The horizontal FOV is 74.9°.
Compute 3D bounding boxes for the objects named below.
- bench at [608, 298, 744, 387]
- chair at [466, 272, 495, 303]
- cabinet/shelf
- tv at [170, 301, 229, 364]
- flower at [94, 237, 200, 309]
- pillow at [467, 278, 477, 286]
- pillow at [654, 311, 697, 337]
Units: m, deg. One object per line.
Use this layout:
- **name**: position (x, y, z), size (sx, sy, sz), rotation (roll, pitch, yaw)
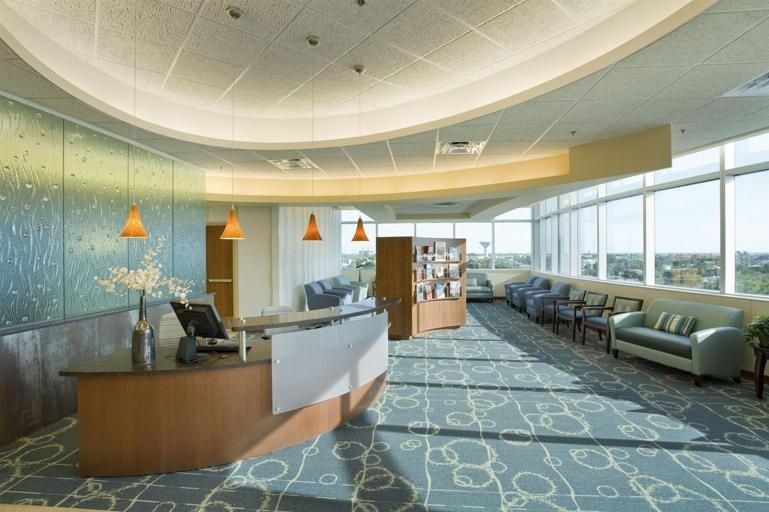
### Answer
- **bench**: position (5.187, 1.432, 9.052), size (1.655, 1.227, 2.341), rotation (3, -3, -11)
- **chair**: position (3.270, 1.015, 17.500), size (1.302, 0.770, 1.068), rotation (-1, -6, 9)
- **cabinet/shelf**: position (0.777, 0.739, 11.469), size (1.030, 2.114, 3.063), rotation (-4, -5, 40)
- **tv**: position (-2.438, 1.045, 6.695), size (1.065, 0.699, 0.500), rotation (3, 8, 22)
- **flower**: position (-3.341, 0.291, 6.682), size (0.891, 0.767, 0.936), rotation (1, 9, -7)
- **pillow**: position (3.026, 0.907, 17.702), size (0.380, 0.167, 0.076), rotation (-3, -29, -3)
- **pillow**: position (5.269, 1.244, 9.245), size (0.186, 0.343, 0.621), rotation (36, -10, -19)
